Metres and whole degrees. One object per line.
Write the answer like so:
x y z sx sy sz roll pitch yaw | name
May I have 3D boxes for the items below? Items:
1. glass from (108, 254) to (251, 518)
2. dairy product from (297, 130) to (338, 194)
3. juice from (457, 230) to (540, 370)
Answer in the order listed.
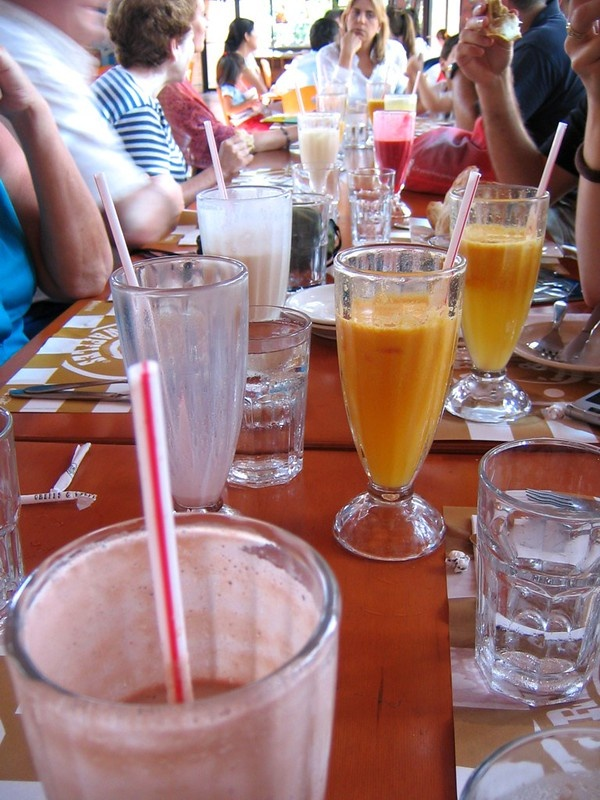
-0.091 0.012 0.550 0.103 0.201 0.093 -6 7 -19 | glass
0.056 -0.701 1.969 0.135 0.215 0.138 7 18 26 | dairy product
0.242 -0.141 0.848 0.124 0.187 0.117 7 31 18 | juice
